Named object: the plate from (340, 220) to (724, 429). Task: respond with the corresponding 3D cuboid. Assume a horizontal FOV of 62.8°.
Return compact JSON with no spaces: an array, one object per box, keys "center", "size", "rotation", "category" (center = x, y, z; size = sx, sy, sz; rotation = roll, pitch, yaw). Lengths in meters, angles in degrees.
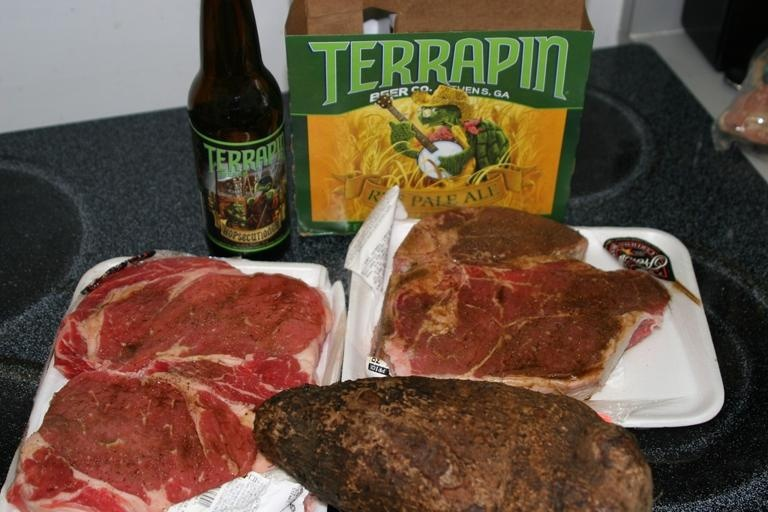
[{"center":[0.241,0.086,1.026],"size":[0.581,0.108,0.366],"rotation":[2,53,1],"category":"plate"}]
